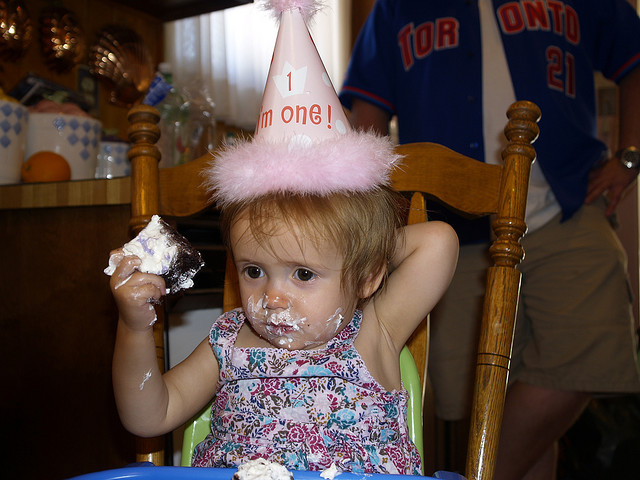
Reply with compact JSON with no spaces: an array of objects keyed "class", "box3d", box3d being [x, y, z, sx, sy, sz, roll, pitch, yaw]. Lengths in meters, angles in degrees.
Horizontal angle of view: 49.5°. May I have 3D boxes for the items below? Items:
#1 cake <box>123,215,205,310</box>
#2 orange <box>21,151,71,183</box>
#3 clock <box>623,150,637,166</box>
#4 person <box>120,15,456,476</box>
[{"class":"cake","box3d":[-0.327,0.022,1.451,0.161,0.227,0.049,-7,29,14]},{"class":"orange","box3d":[-0.789,-0.214,1.978,0.148,0.087,0.100,-2,10,-9]},{"class":"clock","box3d":[0.930,-0.256,2.093,0.044,0.042,0.025,-6,11,-29]},{"class":"person","box3d":[-0.054,0.009,1.536,0.755,1.009,0.280,-3,9,-17]}]
